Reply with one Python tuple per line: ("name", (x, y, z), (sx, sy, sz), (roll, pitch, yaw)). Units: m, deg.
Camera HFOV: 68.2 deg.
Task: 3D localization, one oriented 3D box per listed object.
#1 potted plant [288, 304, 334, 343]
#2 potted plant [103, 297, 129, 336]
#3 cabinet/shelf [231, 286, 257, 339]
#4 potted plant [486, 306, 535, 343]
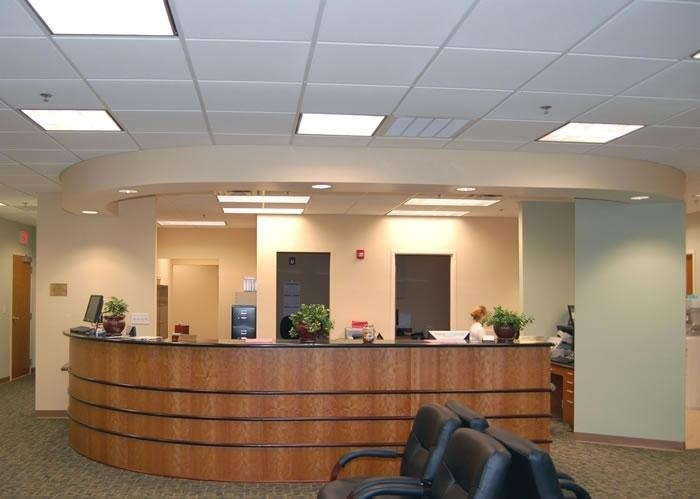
("potted plant", (-0.493, 0.930, 6.452), (0.504, 0.405, 0.506), (-10, -13, 40))
("potted plant", (-3.198, 0.901, 7.017), (0.276, 0.494, 0.411), (5, -7, -25))
("cabinet/shelf", (-2.330, 1.398, 11.305), (0.495, 1.048, 0.684), (4, -6, -16))
("potted plant", (2.018, 0.964, 6.668), (0.542, 0.453, 0.380), (1, -6, 4))
